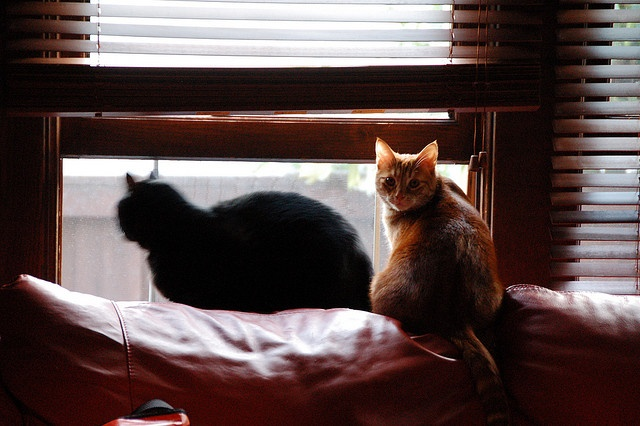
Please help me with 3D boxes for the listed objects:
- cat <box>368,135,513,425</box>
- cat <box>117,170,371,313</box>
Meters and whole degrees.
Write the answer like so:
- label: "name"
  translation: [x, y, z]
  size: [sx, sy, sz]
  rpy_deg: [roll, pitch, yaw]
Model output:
- label: "cat"
  translation: [0.290, 0.182, 2.002]
  size: [0.357, 0.806, 0.354]
  rpy_deg: [-6, -36, -10]
- label: "cat"
  translation: [-0.200, 0.122, 2.218]
  size: [0.882, 0.414, 0.331]
  rpy_deg: [5, -6, 1]
